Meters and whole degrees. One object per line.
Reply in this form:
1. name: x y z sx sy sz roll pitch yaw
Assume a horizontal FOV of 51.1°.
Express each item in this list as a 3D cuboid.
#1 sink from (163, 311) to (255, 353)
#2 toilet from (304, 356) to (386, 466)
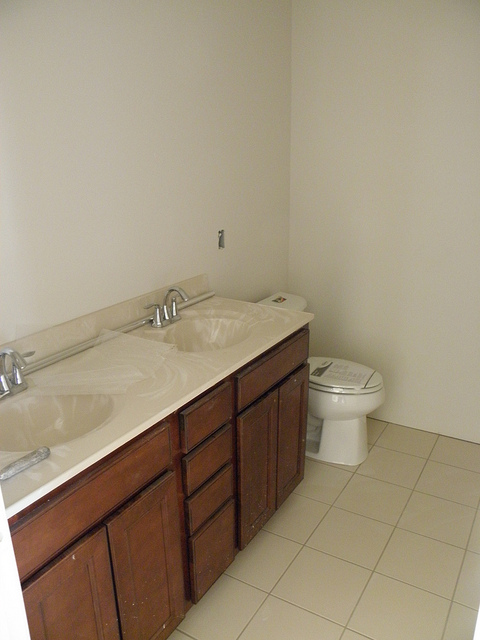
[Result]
1. sink: -0.090 0.052 1.667 0.284 0.119 0.246 -4 19 1
2. toilet: 0.452 0.424 2.282 0.442 0.438 0.274 6 21 28
